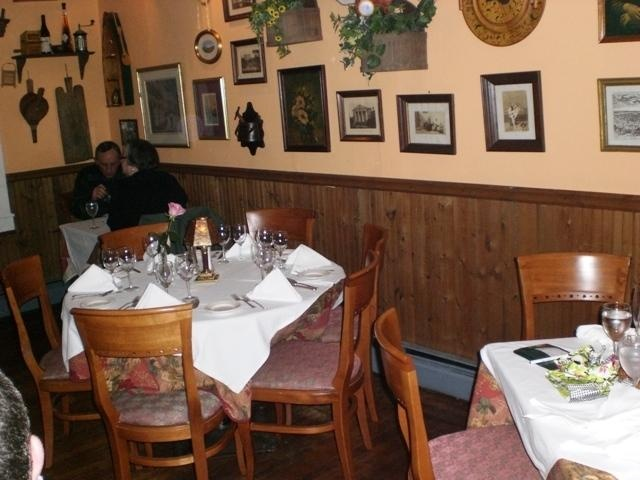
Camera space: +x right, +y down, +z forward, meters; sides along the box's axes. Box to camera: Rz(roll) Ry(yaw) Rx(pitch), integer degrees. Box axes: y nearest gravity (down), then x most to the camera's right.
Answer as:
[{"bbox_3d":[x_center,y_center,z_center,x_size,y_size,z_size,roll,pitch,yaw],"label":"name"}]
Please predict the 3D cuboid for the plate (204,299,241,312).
[{"bbox_3d":[-0.496,0.343,2.564,0.169,0.020,0.163,-8,10,-37],"label":"plate"}]

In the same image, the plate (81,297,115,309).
[{"bbox_3d":[-1.195,0.345,2.677,0.242,0.027,0.143,4,10,37],"label":"plate"}]

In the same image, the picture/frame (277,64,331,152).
[{"bbox_3d":[-0.121,-1.118,4.164,0.638,0.835,0.052,9,20,42],"label":"picture/frame"}]

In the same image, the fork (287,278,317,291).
[{"bbox_3d":[-0.104,0.250,2.789,0.212,0.020,0.062,9,48,34],"label":"fork"}]

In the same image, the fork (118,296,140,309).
[{"bbox_3d":[-1.008,0.332,2.657,0.033,0.026,0.123,12,20,6],"label":"fork"}]

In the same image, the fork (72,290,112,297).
[{"bbox_3d":[-1.285,0.308,2.794,0.216,0.021,0.056,-3,8,-5],"label":"fork"}]

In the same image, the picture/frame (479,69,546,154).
[{"bbox_3d":[1.202,-0.808,3.075,0.480,0.687,0.051,3,17,43],"label":"picture/frame"}]

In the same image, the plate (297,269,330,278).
[{"bbox_3d":[-0.045,0.202,2.972,0.198,0.021,0.150,-2,8,1],"label":"plate"}]

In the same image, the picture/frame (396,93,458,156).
[{"bbox_3d":[0.757,-0.816,3.469,0.387,0.406,0.033,11,23,38],"label":"picture/frame"}]

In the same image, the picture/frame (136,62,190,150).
[{"bbox_3d":[-1.719,-1.441,5.423,0.794,0.891,0.152,5,10,45],"label":"picture/frame"}]

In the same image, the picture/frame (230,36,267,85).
[{"bbox_3d":[-0.634,-1.627,4.491,0.425,0.467,0.050,3,14,35],"label":"picture/frame"}]

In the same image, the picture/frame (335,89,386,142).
[{"bbox_3d":[0.322,-0.962,3.809,0.383,0.414,0.032,8,20,42],"label":"picture/frame"}]

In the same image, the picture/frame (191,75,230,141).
[{"bbox_3d":[-1.073,-1.323,4.937,0.562,0.638,0.044,9,16,42],"label":"picture/frame"}]
